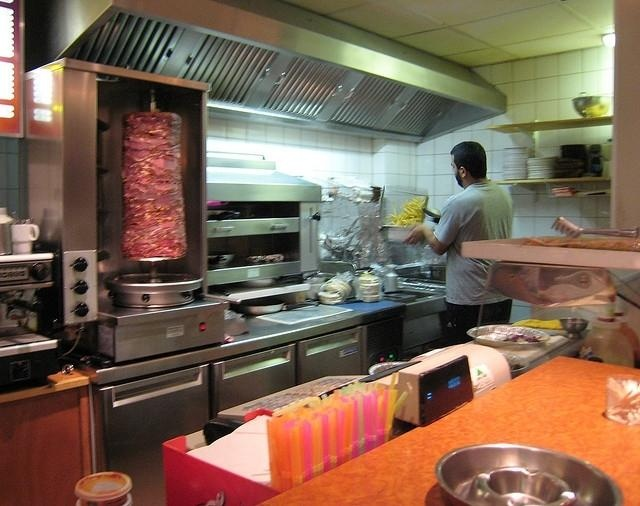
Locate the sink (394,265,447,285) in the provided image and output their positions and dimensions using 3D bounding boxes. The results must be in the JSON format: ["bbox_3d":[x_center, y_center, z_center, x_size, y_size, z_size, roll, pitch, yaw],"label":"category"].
[{"bbox_3d":[0.924,0.184,4.255,0.329,0.079,0.246,-3,4,-42],"label":"sink"}]

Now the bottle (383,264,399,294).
[{"bbox_3d":[0.577,0.198,3.796,0.105,0.210,0.190,1,7,32],"label":"bottle"}]

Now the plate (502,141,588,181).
[{"bbox_3d":[1.951,-0.787,4.207,0.588,0.170,0.344,-1,-3,30],"label":"plate"}]

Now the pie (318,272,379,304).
[{"bbox_3d":[0.245,0.254,3.533,0.551,0.208,0.196,-3,6,-15],"label":"pie"}]

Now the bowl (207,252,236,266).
[{"bbox_3d":[-0.600,0.041,2.953,0.126,0.072,0.266,-2,5,0],"label":"bowl"}]

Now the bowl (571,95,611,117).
[{"bbox_3d":[2.272,-1.226,3.957,0.289,0.218,0.219,-1,6,14],"label":"bowl"}]
